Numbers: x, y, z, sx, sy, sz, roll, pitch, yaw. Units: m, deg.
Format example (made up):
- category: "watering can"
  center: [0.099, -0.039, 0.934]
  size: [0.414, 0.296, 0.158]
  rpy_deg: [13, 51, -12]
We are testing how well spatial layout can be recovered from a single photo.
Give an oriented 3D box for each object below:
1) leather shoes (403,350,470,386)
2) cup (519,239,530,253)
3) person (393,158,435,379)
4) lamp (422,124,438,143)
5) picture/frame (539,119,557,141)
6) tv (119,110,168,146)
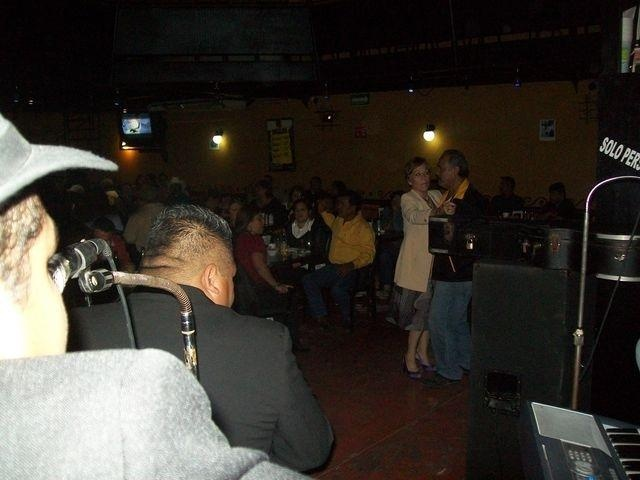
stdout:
- category: "leather shoes"
  center: [0.934, 1.069, 4.430]
  size: [0.616, 0.262, 0.210]
  rpy_deg: [-1, 1, 33]
- category: "cup"
  center: [1.004, 0.034, 2.576]
  size: [0.052, 0.093, 0.050]
  rpy_deg: [0, 1, 0]
- category: "person"
  center: [0.781, 0.283, 4.258]
  size: [0.369, 1.862, 0.597]
  rpy_deg: [-1, 9, 12]
- category: "lamp"
  center: [2.343, -2.270, 11.252]
  size: [0.304, 0.381, 0.489]
  rpy_deg: [-1, 9, 10]
- category: "picture/frame"
  center: [4.416, -2.116, 10.212]
  size: [0.326, 0.437, 0.085]
  rpy_deg: [1, 10, 22]
- category: "tv"
  center: [-4.029, -2.565, 11.794]
  size: [0.818, 0.600, 0.809]
  rpy_deg: [0, -20, -8]
